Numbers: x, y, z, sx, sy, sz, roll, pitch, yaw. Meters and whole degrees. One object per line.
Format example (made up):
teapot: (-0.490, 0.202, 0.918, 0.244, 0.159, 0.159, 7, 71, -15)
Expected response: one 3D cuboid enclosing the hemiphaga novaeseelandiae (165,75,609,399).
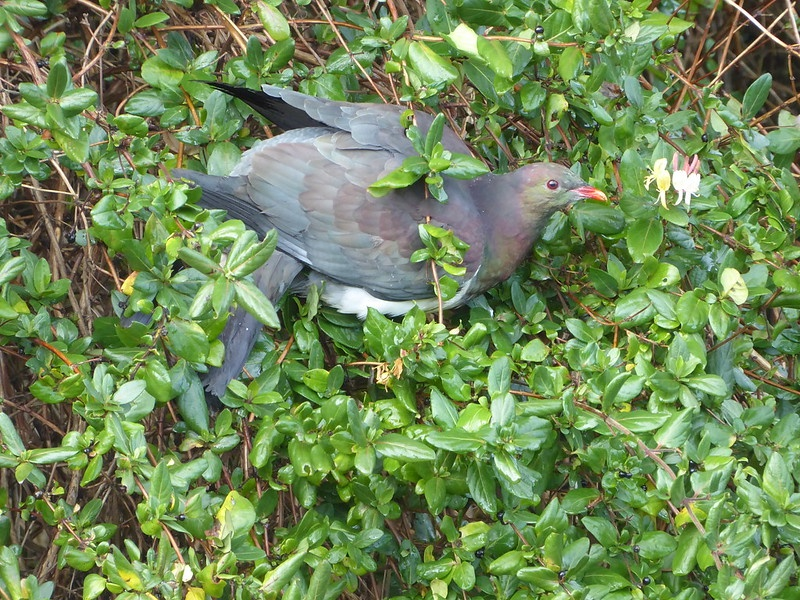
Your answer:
hemiphaga novaeseelandiae: (-0.040, -0.206, 3.418, 1.243, 0.775, 1.178, 23, 53, -19)
